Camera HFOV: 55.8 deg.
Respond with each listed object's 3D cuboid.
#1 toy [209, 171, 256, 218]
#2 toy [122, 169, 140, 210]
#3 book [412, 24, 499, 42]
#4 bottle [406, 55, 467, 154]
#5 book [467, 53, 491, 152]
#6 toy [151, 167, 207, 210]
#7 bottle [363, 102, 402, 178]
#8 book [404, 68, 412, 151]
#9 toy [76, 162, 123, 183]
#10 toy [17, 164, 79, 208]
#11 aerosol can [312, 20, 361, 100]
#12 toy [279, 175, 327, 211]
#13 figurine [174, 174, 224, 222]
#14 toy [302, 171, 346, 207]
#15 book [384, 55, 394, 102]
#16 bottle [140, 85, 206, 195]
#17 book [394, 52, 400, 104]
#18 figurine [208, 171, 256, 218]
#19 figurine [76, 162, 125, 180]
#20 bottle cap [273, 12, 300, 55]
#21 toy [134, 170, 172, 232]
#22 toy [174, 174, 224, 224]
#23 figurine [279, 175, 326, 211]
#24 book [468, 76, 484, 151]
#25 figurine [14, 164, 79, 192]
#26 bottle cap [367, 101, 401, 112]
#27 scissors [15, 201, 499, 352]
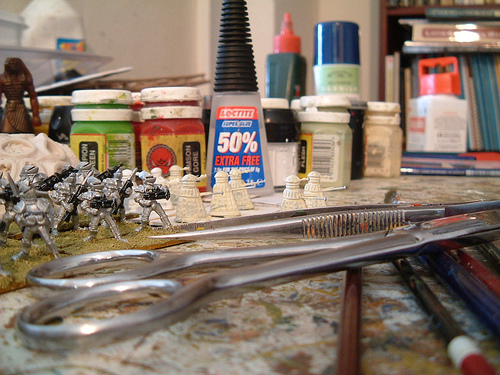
[{"bbox_3d":[-0.024,0.006,0.718,0.082,0.069,0.047,-1,2,-15],"label":"toy"},{"bbox_3d":[-0.170,0.004,0.669,0.015,0.060,0.027,8,-9,11],"label":"toy"},{"bbox_3d":[0.552,-0.418,1.269,0.102,0.020,0.092,0,9,-9],"label":"book"},{"bbox_3d":[0.463,-0.182,1.182,0.144,0.198,0.105,0,7,23],"label":"bottle"},{"bbox_3d":[0.637,-0.235,1.311,0.045,0.362,0.041,-6,10,9],"label":"book"},{"bbox_3d":[-0.106,0.006,0.728,0.033,0.067,0.083,-4,12,-32],"label":"toy"},{"bbox_3d":[0.305,-0.111,1.094,0.086,0.178,0.087,-3,7,0],"label":"bottle"},{"bbox_3d":[0.449,-0.188,1.349,0.021,0.189,0.040,-7,-30,30],"label":"book"},{"bbox_3d":[-0.186,-0.020,0.621,0.078,0.027,0.023,2,6,-19],"label":"toy"},{"bbox_3d":[-0.234,-0.006,0.534,0.022,0.034,0.094,24,15,39],"label":"toy"},{"bbox_3d":[0.200,-0.283,1.101,0.110,0.182,0.111,-2,10,0],"label":"aerosol can"},{"bbox_3d":[0.073,0.014,0.658,0.055,0.037,0.032,1,4,7],"label":"toy"},{"bbox_3d":[-0.072,0.013,0.692,0.088,0.072,0.055,-1,3,-38],"label":"figurine"},{"bbox_3d":[0.109,0.004,0.702,0.071,0.058,0.039,6,10,34],"label":"toy"},{"bbox_3d":[0.396,-0.310,1.348,0.027,0.127,0.053,-2,7,14],"label":"book"},{"bbox_3d":[-0.132,-0.067,0.813,0.120,0.186,0.116,-2,-1,0],"label":"bottle"},{"bbox_3d":[0.412,-0.310,1.328,0.018,0.138,0.035,-1,7,19],"label":"book"},{"bbox_3d":[-0.025,0.008,0.711,0.083,0.069,0.051,2,10,2],"label":"figurine"},{"bbox_3d":[-0.201,-0.024,0.611,0.077,0.022,0.022,2,14,17],"label":"figurine"},{"bbox_3d":[0.091,-0.371,1.131,0.066,0.091,0.065,7,27,22],"label":"bottle cap"},{"bbox_3d":[-0.128,0.018,0.620,0.052,0.078,0.043,0,11,9],"label":"toy"},{"bbox_3d":[-0.072,0.012,0.684,0.073,0.064,0.065,5,9,4],"label":"toy"},{"bbox_3d":[0.076,0.010,0.687,0.077,0.054,0.043,-1,4,-21],"label":"figurine"},{"bbox_3d":[0.625,-0.201,1.310,0.028,0.252,0.034,-5,9,27],"label":"book"},{"bbox_3d":[-0.241,-0.011,0.559,0.024,0.037,0.075,-2,11,37],"label":"figurine"},{"bbox_3d":[0.302,-0.185,1.073,0.062,0.026,0.055,1,7,33],"label":"bottle cap"},{"bbox_3d":[0.051,0.049,0.385,0.419,0.016,0.139,-8,5,-18],"label":"scissors"}]
